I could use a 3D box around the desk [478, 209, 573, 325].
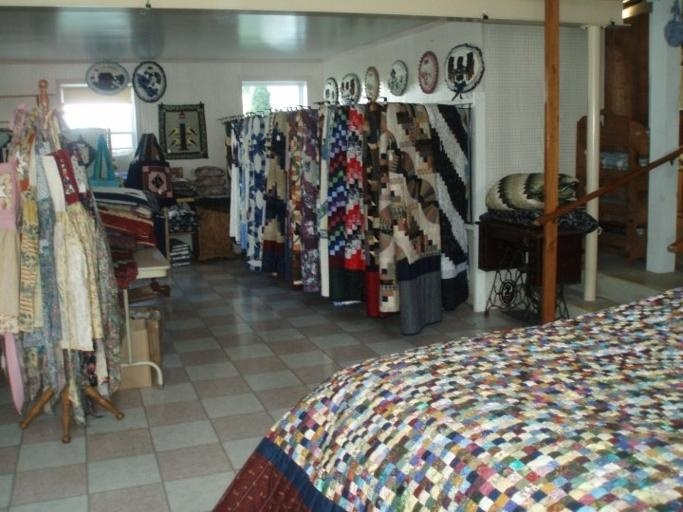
[{"bbox_3d":[1.659,0.083,5.186,0.404,0.892,0.926,-3,11,-23],"label":"desk"}]

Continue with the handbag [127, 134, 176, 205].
[{"bbox_3d":[-2.433,-1.073,7.274,0.562,0.909,0.336,-3,12,-7],"label":"handbag"}]

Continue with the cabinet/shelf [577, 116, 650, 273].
[{"bbox_3d":[2.809,-0.732,5.938,0.384,1.473,0.863,-7,14,-24],"label":"cabinet/shelf"}]

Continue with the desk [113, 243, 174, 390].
[{"bbox_3d":[-1.497,0.485,4.424,0.391,0.951,0.686,-5,13,-18],"label":"desk"}]
